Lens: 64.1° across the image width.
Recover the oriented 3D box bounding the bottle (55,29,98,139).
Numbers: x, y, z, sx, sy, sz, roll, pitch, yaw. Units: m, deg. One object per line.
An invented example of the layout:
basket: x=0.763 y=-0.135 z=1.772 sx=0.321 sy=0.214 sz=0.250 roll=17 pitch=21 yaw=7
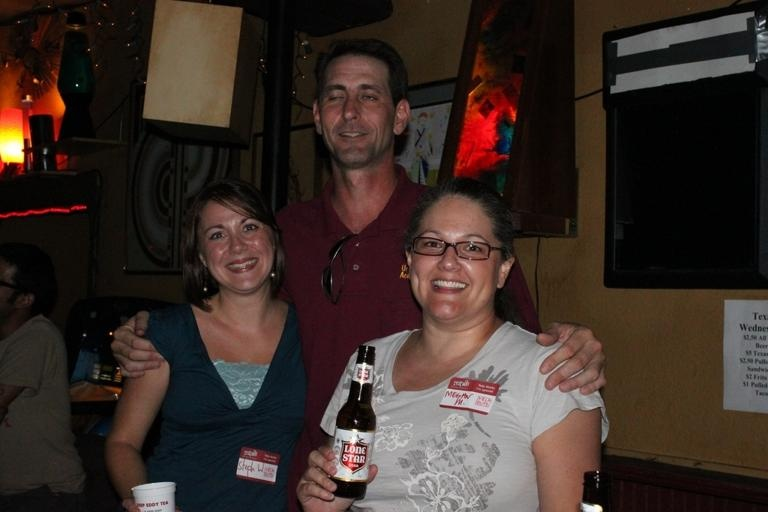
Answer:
bottle: x=-2.739 y=-1.519 z=5.460 sx=0.289 sy=0.979 sz=0.303 roll=2 pitch=2 yaw=0

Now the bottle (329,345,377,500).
bottle: x=-0.108 y=0.666 z=2.424 sx=0.160 sy=0.643 sz=0.268 roll=2 pitch=2 yaw=-4

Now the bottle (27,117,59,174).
bottle: x=-3.203 y=-1.046 z=5.746 sx=0.226 sy=0.530 sz=0.302 roll=1 pitch=2 yaw=-29

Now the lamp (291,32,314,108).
lamp: x=-0.712 y=-1.598 z=5.294 sx=0.174 sy=0.687 sz=0.171 roll=6 pitch=-9 yaw=-19
